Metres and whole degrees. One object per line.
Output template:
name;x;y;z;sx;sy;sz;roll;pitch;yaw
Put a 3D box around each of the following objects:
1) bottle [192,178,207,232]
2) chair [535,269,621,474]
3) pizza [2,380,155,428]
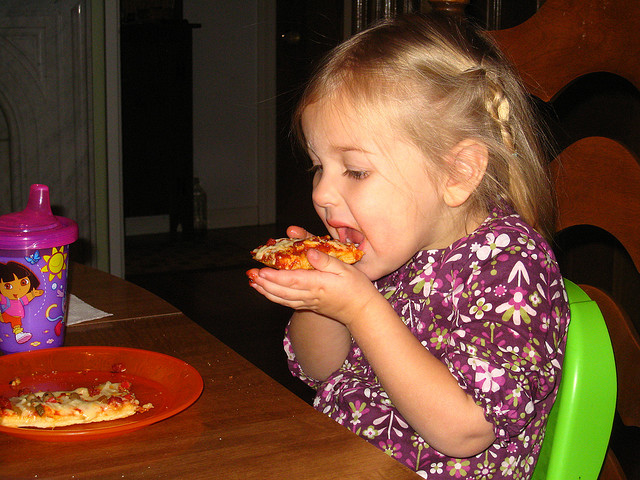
bottle;-0.779;-0.224;3.935;0.111;0.356;0.088;-5;9;-31
chair;0.433;0.258;1.066;0.126;0.339;0.200;0;8;-2
pizza;-0.357;0.235;0.874;0.140;0.023;0.077;-3;16;-17
